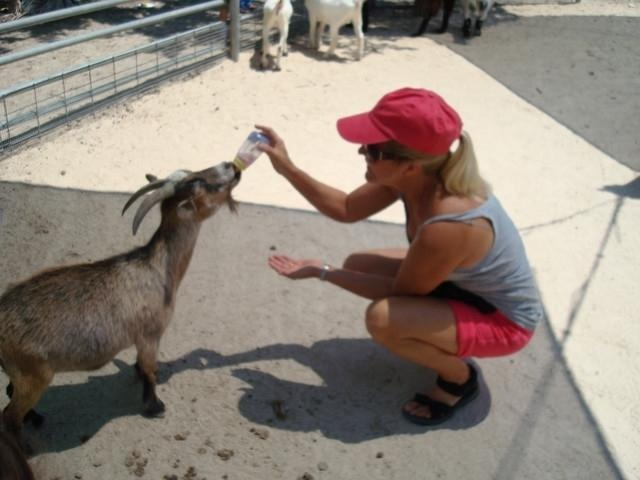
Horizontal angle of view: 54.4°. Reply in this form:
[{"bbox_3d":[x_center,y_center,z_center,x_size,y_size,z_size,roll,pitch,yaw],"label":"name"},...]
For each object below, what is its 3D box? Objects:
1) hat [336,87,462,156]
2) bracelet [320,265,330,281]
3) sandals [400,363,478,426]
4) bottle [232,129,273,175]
[{"bbox_3d":[0.545,-0.802,4.124,0.684,0.281,0.448,3,48,1],"label":"hat"},{"bbox_3d":[0.034,0.254,4.696,0.071,0.094,0.093,4,18,-6],"label":"bracelet"},{"bbox_3d":[0.921,1.149,4.675,0.618,0.251,0.286,-30,35,-24],"label":"sandals"},{"bbox_3d":[-0.510,-0.682,4.734,0.198,0.107,0.360,38,72,5],"label":"bottle"}]
